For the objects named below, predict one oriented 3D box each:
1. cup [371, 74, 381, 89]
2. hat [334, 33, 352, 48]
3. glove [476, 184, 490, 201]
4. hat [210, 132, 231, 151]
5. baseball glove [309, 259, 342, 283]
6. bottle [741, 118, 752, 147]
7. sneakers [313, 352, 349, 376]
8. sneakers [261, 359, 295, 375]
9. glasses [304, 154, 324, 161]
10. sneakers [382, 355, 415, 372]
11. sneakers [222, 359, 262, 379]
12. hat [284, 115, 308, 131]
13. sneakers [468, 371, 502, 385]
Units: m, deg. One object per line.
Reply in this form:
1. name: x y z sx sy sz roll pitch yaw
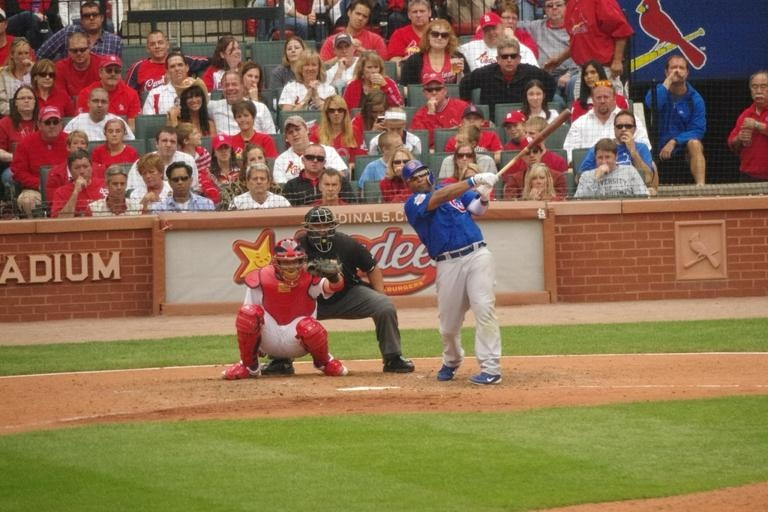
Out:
1. cup: -0.137 -3.136 27.302 0.216 0.238 0.238 -2 14 0
2. hat: -0.763 -3.999 28.230 0.340 0.224 0.457 -2 -1 0
3. glove: 1.422 -0.903 21.490 0.201 0.215 0.143 -3 3 -9
4. hat: -2.796 -1.963 26.113 0.316 0.283 0.335 -3 3 -9
5. baseball glove: -0.820 0.198 21.611 0.305 0.173 0.414 8 -1 -28
6. bottle: 6.459 -2.213 27.040 0.180 0.473 0.371 -2 3 4
7. sneakers: -0.741 1.573 22.123 0.503 0.221 0.263 9 26 31
8. sneakers: -1.565 1.629 22.390 0.471 0.205 0.207 8 -2 -16
9. glasses: -1.163 -1.648 25.482 0.314 0.109 0.145 -3 3 -19
10. sneakers: 0.226 1.572 22.358 0.443 0.262 0.210 -1 4 0
11. sneakers: -2.075 1.647 22.093 0.442 0.166 0.244 2 -3 -13
12. hat: -1.521 -2.314 26.138 0.379 0.233 0.347 -4 4 -28
13. sneakers: 1.447 1.714 21.472 0.435 0.176 0.171 3 7 -1
